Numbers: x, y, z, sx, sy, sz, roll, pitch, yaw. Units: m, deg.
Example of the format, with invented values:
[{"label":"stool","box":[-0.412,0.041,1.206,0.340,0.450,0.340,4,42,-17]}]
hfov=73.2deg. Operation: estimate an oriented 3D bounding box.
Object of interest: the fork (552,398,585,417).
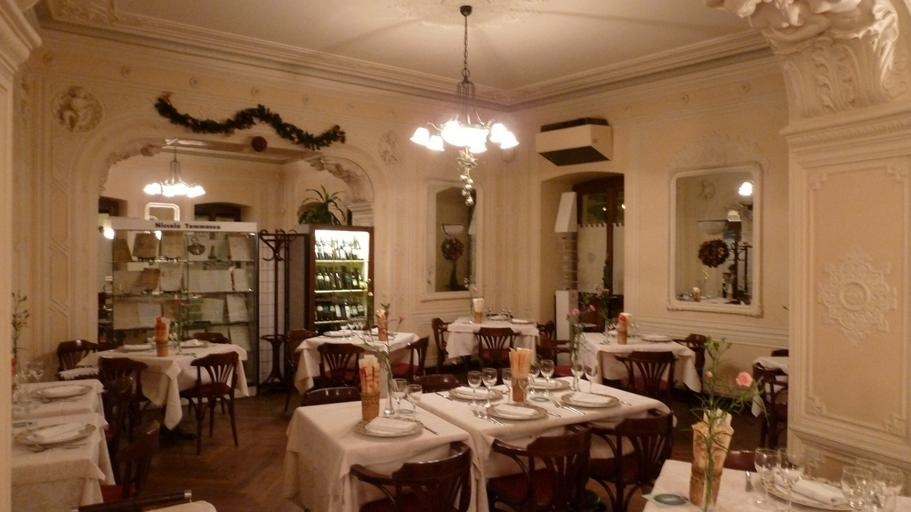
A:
[{"label":"fork","box":[1.136,1.532,6.238,0.096,0.071,0.518,0,5,-22]}]

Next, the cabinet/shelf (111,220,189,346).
[{"label":"cabinet/shelf","box":[-4.480,0.342,9.421,1.403,2.064,0.767,1,26,-21]}]

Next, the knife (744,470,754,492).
[{"label":"knife","box":[2.409,1.843,5.030,0.050,0.036,0.287,1,8,20]}]

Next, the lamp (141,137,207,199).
[{"label":"lamp","box":[-5.894,-1.954,12.923,1.141,1.096,1.140,8,7,43]}]

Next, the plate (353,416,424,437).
[{"label":"plate","box":[-0.614,1.595,5.723,0.622,0.130,0.260,0,-4,-4]}]

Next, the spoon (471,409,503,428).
[{"label":"spoon","box":[0.291,1.560,6.002,0.094,0.069,0.511,-1,6,-20]}]

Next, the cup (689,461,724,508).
[{"label":"cup","box":[1.999,1.802,4.786,0.281,0.324,0.350,0,-4,0]}]

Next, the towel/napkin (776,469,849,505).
[{"label":"towel/napkin","box":[2.807,1.794,4.787,0.303,0.043,0.326,-4,2,-36]}]

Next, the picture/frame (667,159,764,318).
[{"label":"picture/frame","box":[4.093,-0.217,9.703,1.537,2.463,0.203,3,7,44]}]

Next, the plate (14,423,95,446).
[{"label":"plate","box":[-3.673,1.649,5.632,0.636,0.165,0.277,0,-4,-7]}]

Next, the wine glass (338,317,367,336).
[{"label":"wine glass","box":[-1.645,1.145,10.031,0.325,0.301,0.299,-1,-3,8]}]

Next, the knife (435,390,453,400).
[{"label":"knife","box":[-0.119,1.468,6.500,0.050,0.058,0.435,1,-1,-17]}]

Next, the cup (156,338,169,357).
[{"label":"cup","box":[-3.765,1.185,7.896,0.217,0.222,0.204,-1,-1,0]}]

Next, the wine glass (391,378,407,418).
[{"label":"wine glass","box":[-0.544,1.370,6.041,0.137,0.343,0.367,0,-4,-4]}]
